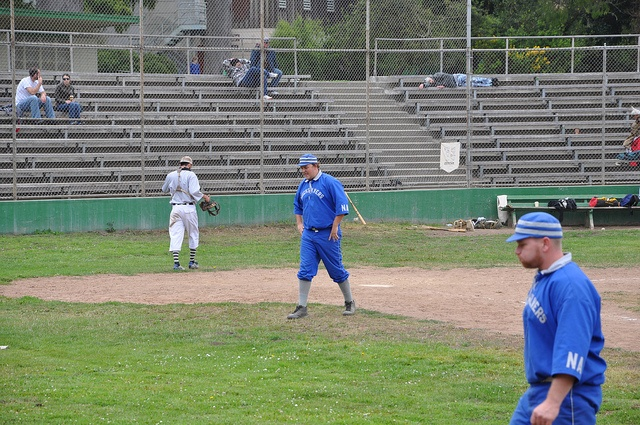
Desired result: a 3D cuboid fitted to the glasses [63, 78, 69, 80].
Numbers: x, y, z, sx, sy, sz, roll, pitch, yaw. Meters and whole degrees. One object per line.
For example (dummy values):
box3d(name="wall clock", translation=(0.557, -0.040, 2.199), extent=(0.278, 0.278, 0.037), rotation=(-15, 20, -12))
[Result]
box3d(name="glasses", translation=(-9.001, -4.676, 52.375), extent=(0.189, 0.085, 0.116), rotation=(-2, 3, -30))

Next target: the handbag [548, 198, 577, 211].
box3d(name="handbag", translation=(8.727, -0.327, 53.171), extent=(1.043, 0.415, 0.533), rotation=(0, 2, 15))

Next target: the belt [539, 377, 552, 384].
box3d(name="belt", translation=(5.786, 4.163, 37.711), extent=(0.176, 0.063, 0.131), rotation=(-29, -4, 27))

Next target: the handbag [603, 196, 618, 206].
box3d(name="handbag", translation=(10.513, -0.392, 53.245), extent=(0.510, 0.288, 0.230), rotation=(-1, 3, 8))
